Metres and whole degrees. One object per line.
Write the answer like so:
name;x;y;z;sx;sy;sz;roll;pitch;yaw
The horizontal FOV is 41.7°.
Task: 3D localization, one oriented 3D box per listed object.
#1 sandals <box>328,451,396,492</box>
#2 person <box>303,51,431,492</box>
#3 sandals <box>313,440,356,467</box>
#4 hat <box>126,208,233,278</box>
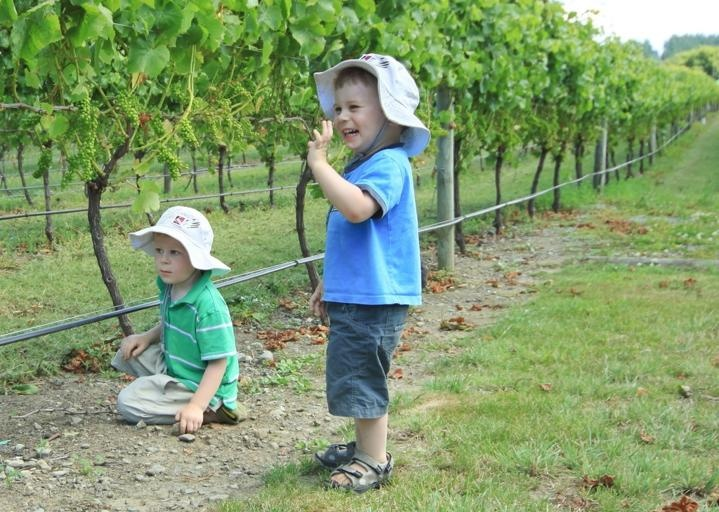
sandals;0.023;1.608;7.119;0.307;0.220;0.555;10;10;39
person;0.036;0.118;7.041;0.853;3.201;0.698;1;10;0
sandals;-0.175;1.517;7.234;0.326;0.121;0.164;-13;39;-15
hat;-1.437;-0.061;7.733;0.673;0.320;0.647;19;5;35
